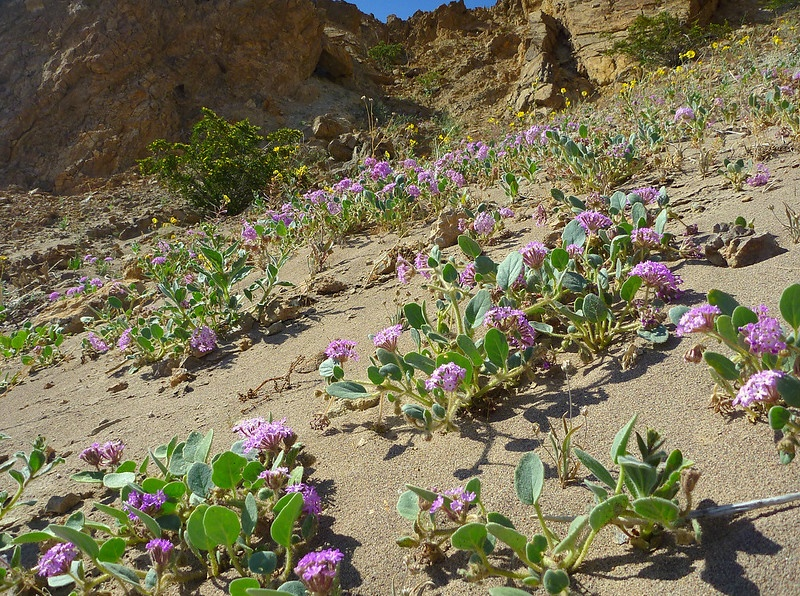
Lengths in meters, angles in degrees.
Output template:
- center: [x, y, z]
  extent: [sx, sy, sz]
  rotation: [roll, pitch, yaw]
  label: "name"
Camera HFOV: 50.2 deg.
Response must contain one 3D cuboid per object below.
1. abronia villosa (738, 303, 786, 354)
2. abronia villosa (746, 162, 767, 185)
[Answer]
- center: [2.275, 0.185, 5.376]
  extent: [0.192, 0.294, 0.256]
  rotation: [-3, 1, -3]
  label: "abronia villosa"
- center: [2.914, -1.022, 6.998]
  extent: [0.161, 0.149, 0.214]
  rotation: [-12, 26, 36]
  label: "abronia villosa"
